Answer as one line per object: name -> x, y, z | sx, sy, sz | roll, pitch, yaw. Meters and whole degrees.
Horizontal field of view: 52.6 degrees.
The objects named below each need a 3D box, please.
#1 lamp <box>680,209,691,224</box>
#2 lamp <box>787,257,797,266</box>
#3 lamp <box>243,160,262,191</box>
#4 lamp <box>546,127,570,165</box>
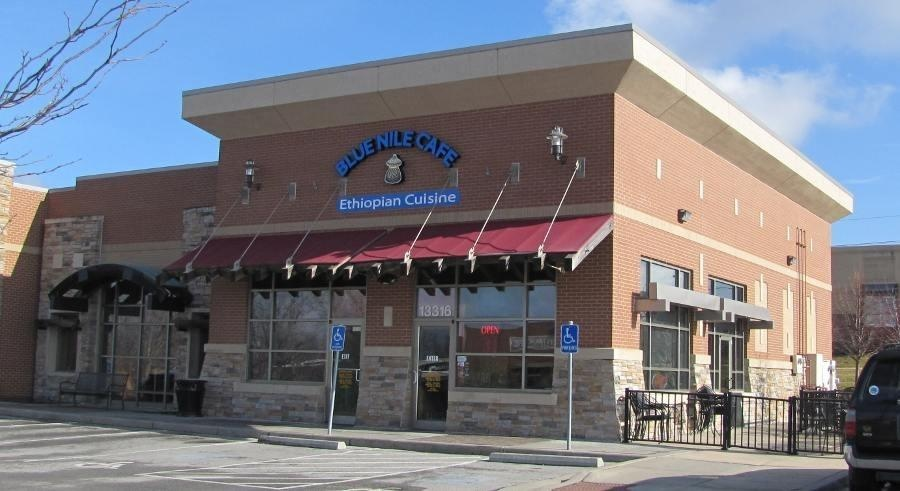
lamp -> 9.666, -1.209, 37.506 | 0.353, 0.578, 0.650 | -2, -4, 39
lamp -> 16.909, 0.784, 45.063 | 0.561, 0.360, 0.525 | 2, -4, 2
lamp -> -8.423, -3.016, 39.172 | 0.712, 1.330, 0.557 | 4, -16, -5
lamp -> 4.176, -3.852, 35.227 | 0.713, 1.331, 0.646 | 10, -18, -24
